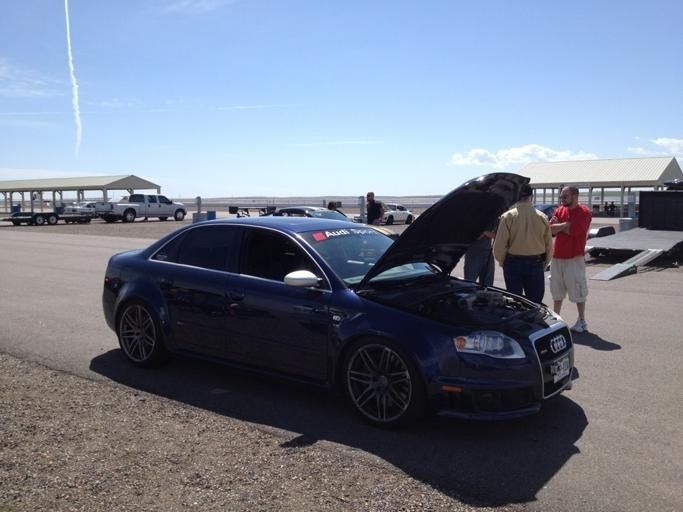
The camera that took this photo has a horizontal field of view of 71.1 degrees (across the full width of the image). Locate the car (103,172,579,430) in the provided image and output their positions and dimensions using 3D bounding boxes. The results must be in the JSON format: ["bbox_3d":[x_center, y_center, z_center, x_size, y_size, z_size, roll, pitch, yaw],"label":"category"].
[{"bbox_3d":[-0.158,0.298,5.147,4.641,1.854,2.194,2,6,27],"label":"car"}]

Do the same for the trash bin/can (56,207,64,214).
[{"bbox_3d":[-22.561,-3.626,38.531,0.673,0.559,0.339,4,13,14],"label":"trash bin/can"}]

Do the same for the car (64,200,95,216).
[{"bbox_3d":[-21.566,-3.900,39.806,2.179,1.089,3.795,-3,7,-24],"label":"car"}]

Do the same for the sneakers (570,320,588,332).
[{"bbox_3d":[3.439,1.023,6.910,0.314,0.124,0.121,-3,2,-40],"label":"sneakers"}]
